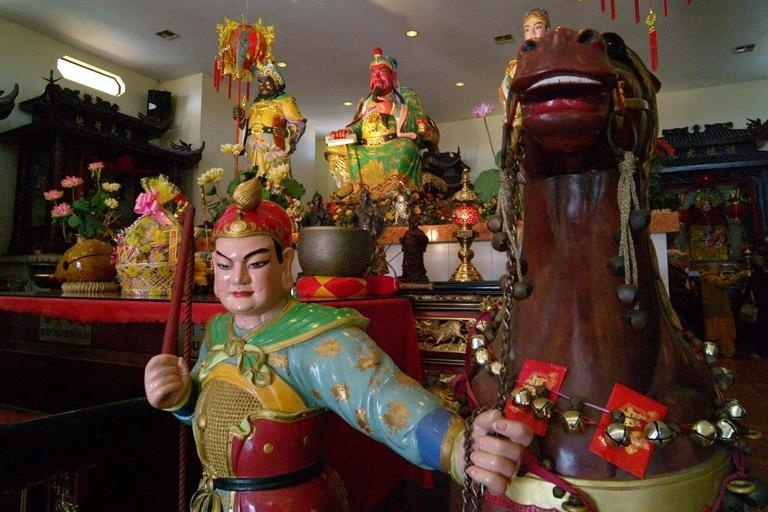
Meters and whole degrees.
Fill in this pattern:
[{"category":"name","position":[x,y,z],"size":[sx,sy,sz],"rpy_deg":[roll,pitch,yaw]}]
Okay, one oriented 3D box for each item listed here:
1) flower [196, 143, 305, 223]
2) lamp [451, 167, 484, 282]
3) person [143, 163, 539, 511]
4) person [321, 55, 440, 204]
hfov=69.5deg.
[{"category":"flower","position":[-0.730,-0.380,2.723],"size":[0.443,0.280,0.403],"rpy_deg":[-20,12,-29]},{"category":"lamp","position":[0.419,-0.165,2.878],"size":[0.176,0.558,0.172],"rpy_deg":[0,-2,33]},{"category":"person","position":[-0.158,0.255,1.495],"size":[1.031,0.941,0.268],"rpy_deg":[0,-2,21]},{"category":"person","position":[-0.019,-1.003,4.138],"size":[0.838,1.155,0.664],"rpy_deg":[-6,1,11]}]
